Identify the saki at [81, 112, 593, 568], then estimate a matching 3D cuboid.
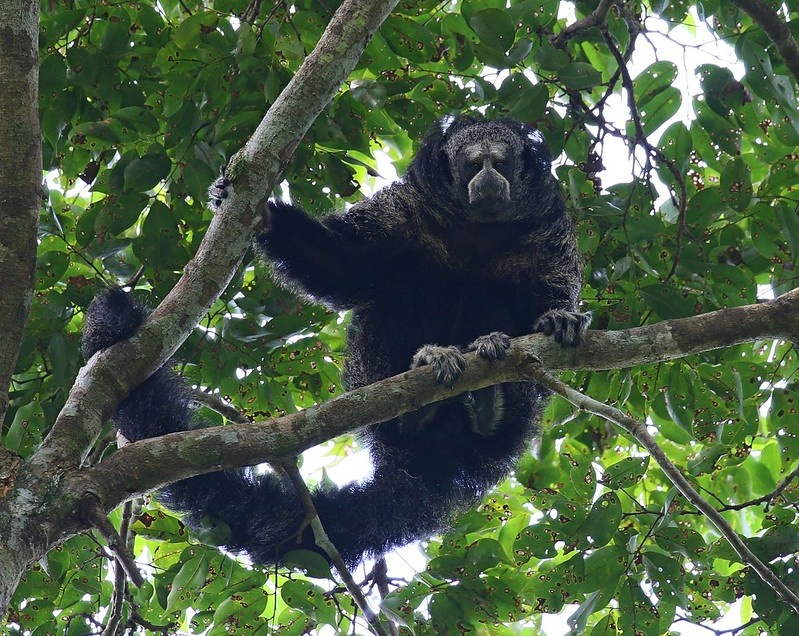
[{"bbox_3d":[-0.328,-0.121,6.952,2.088,1.293,2.500,25,-77,-34],"label":"saki"}]
